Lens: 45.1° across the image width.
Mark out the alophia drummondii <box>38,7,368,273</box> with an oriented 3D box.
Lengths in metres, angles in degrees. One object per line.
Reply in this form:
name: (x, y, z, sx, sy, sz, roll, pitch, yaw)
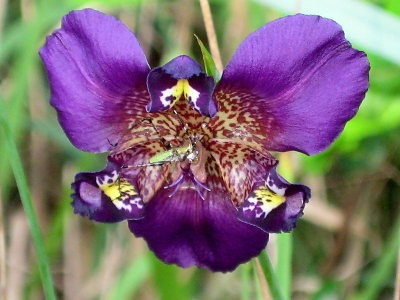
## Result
alophia drummondii: (0.052, -0.046, 1.122, 0.746, 0.283, 0.656, -15, 52, -27)
